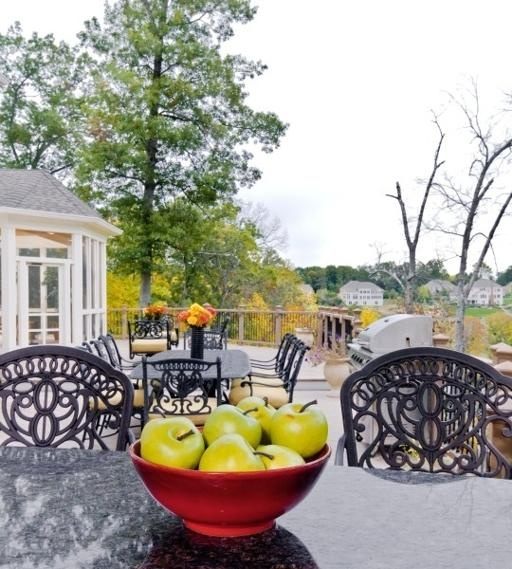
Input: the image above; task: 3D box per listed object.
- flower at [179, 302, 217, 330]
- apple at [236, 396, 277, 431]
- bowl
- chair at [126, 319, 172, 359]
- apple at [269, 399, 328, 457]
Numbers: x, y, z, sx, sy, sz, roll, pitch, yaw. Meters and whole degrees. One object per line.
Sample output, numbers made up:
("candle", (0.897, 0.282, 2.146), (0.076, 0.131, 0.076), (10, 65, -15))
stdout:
("flower", (-0.502, 0.265, 5.270), (0.270, 0.224, 0.266), (3, 6, 22))
("apple", (-0.010, 0.266, 1.319), (0.068, 0.078, 0.067), (19, 5, -42))
("bowl", (-0.038, 0.373, 1.102), (0.372, 0.153, 0.117), (1, 0, -7))
("chair", (-1.570, 0.789, 9.183), (0.534, 0.484, 0.902), (0, -2, -7))
("apple", (0.088, 0.288, 1.279), (0.118, 0.113, 0.110), (2, -4, -1))
